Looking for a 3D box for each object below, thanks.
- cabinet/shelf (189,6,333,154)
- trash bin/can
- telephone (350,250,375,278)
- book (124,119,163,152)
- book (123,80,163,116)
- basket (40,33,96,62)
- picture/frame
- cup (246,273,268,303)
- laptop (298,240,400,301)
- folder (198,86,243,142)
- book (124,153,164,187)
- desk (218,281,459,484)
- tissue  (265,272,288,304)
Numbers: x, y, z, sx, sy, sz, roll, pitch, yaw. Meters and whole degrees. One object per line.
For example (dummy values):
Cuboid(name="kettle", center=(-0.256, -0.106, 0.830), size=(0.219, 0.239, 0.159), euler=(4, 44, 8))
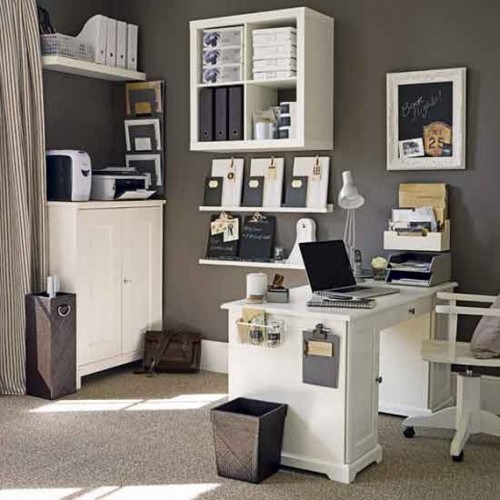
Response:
Cuboid(name="cabinet/shelf", center=(0.086, -1.098, 3.378), size=(0.834, 0.936, 0.310), euler=(2, 4, 39))
Cuboid(name="trash bin/can", center=(-0.015, 0.821, 2.279), size=(0.290, 0.320, 0.281), euler=(1, 1, 31))
Cuboid(name="telephone", center=(0.719, 0.084, 3.269), size=(0.162, 0.218, 0.139), euler=(0, 2, 37))
Cuboid(name="book", center=(-0.849, -0.920, 4.175), size=(0.235, 0.210, 0.025), euler=(2, 5, 29))
Cuboid(name="book", center=(-0.850, -1.214, 4.164), size=(0.247, 0.220, 0.052), euler=(6, 10, 30))
Cuboid(name="basket", center=(-1.276, -1.405, 3.673), size=(0.155, 0.184, 0.393), euler=(1, 1, 40))
Cuboid(name="picture/frame", center=(1.083, -0.799, 3.147), size=(0.549, 0.877, 0.082), euler=(1, 2, 34))
Cuboid(name="cup", center=(0.029, 0.172, 2.436), size=(0.097, 0.136, 0.113), euler=(3, 7, 17))
Cuboid(name="laptop", center=(0.432, 0.032, 2.598), size=(0.313, 0.247, 0.352), euler=(2, 4, 37))
Cuboid(name="folder", center=(-0.191, -0.850, 3.667), size=(0.282, 0.481, 0.445), euler=(1, 4, 6))
Cuboid(name="book", center=(-0.828, -0.624, 4.106), size=(0.238, 0.241, 0.027), euler=(8, 8, 29))
Cuboid(name="desk", center=(0.346, 0.444, 2.560), size=(0.580, 0.794, 1.078), euler=(1, 3, 28))
Cuboid(name="tissue ", center=(0.127, 0.190, 2.540), size=(0.104, 0.170, 0.111), euler=(1, 0, 3))
